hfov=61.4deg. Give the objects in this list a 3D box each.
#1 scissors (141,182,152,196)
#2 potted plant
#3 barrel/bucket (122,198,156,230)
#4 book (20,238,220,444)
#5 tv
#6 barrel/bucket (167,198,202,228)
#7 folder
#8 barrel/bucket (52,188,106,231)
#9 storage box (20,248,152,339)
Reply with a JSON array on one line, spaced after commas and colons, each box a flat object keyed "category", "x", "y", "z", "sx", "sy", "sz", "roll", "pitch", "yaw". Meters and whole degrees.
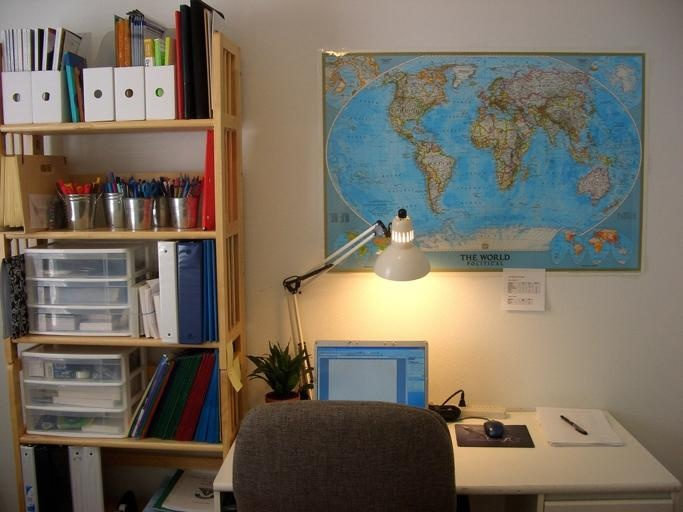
[{"category": "scissors", "x": -0.844, "y": -0.285, "z": 2.488, "sx": 0.038, "sy": 0.059, "sz": 0.016, "roll": 1, "pitch": 2, "yaw": -24}, {"category": "potted plant", "x": -0.262, "y": 0.510, "z": 2.604, "sx": 0.237, "sy": 0.255, "sz": 0.250, "roll": -2, "pitch": -1, "yaw": -5}, {"category": "barrel/bucket", "x": -0.865, "y": -0.179, "z": 2.441, "sx": 0.125, "sy": 0.137, "sz": 0.119, "roll": 1, "pitch": 5, "yaw": 0}, {"category": "book", "x": -0.954, "y": 0.382, "z": 2.471, "sx": 0.798, "sy": 0.809, "sz": 0.295, "roll": 0, "pitch": 4, "yaw": 0}, {"category": "tv", "x": 0.127, "y": 0.509, "z": 2.477, "sx": 0.481, "sy": 0.271, "sz": 0.051, "roll": 0, "pitch": 4, "yaw": 3}, {"category": "barrel/bucket", "x": -0.667, "y": -0.184, "z": 2.460, "sx": 0.126, "sy": 0.105, "sz": 0.117, "roll": -1, "pitch": 6, "yaw": 0}, {"category": "folder", "x": -0.668, "y": 0.160, "z": 2.402, "sx": 0.179, "sy": 0.428, "sz": 0.061, "roll": -1, "pitch": 4, "yaw": -14}, {"category": "barrel/bucket", "x": -1.138, "y": -0.198, "z": 2.550, "sx": 0.199, "sy": 0.172, "sz": 0.219, "roll": -3, "pitch": 5, "yaw": -35}, {"category": "storage box", "x": -1.116, "y": 0.153, "z": 2.561, "sx": 0.587, "sy": 0.459, "sz": 0.337, "roll": 0, "pitch": 3, "yaw": 6}]
